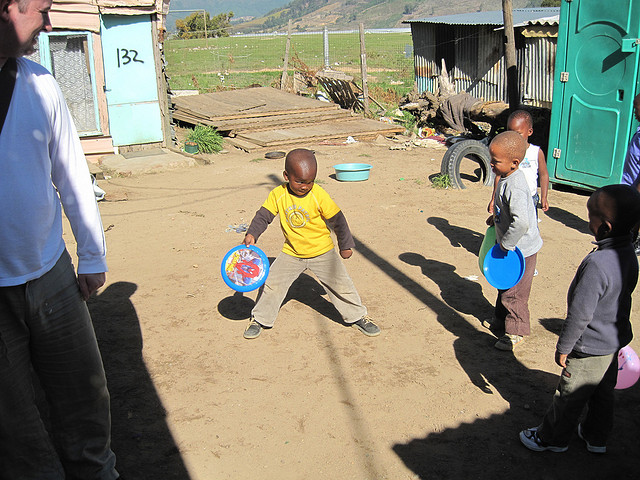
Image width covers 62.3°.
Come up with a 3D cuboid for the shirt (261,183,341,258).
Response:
[{"bbox_3d":[-0.209,-0.196,4.979,0.826,0.687,0.391,3,36,8],"label":"shirt"}]

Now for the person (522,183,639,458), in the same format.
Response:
[{"bbox_3d":[1.760,0.594,3.505,0.654,1.862,0.442,-19,25,-35],"label":"person"}]

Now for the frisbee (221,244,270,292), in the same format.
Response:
[{"bbox_3d":[-0.751,0.262,5.018,0.485,0.443,0.107,13,-9,-34],"label":"frisbee"}]

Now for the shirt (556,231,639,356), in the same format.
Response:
[{"bbox_3d":[1.774,0.351,3.408,0.544,0.787,0.302,-3,20,0],"label":"shirt"}]

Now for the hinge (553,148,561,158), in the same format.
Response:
[{"bbox_3d":[4.324,-1.589,9.699,0.043,0.169,0.139,-14,22,-26],"label":"hinge"}]

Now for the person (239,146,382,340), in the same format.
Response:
[{"bbox_3d":[-0.142,0.059,4.968,1.253,1.810,0.365,-4,20,-1],"label":"person"}]

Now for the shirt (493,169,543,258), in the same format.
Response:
[{"bbox_3d":[1.801,-0.246,4.879,0.457,0.782,0.727,-10,32,8],"label":"shirt"}]

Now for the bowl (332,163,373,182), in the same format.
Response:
[{"bbox_3d":[0.642,-1.358,10.670,0.710,0.302,0.530,-1,19,8],"label":"bowl"}]

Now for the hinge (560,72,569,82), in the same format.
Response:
[{"bbox_3d":[4.273,-2.861,9.308,0.036,0.161,0.134,-15,22,-28],"label":"hinge"}]
